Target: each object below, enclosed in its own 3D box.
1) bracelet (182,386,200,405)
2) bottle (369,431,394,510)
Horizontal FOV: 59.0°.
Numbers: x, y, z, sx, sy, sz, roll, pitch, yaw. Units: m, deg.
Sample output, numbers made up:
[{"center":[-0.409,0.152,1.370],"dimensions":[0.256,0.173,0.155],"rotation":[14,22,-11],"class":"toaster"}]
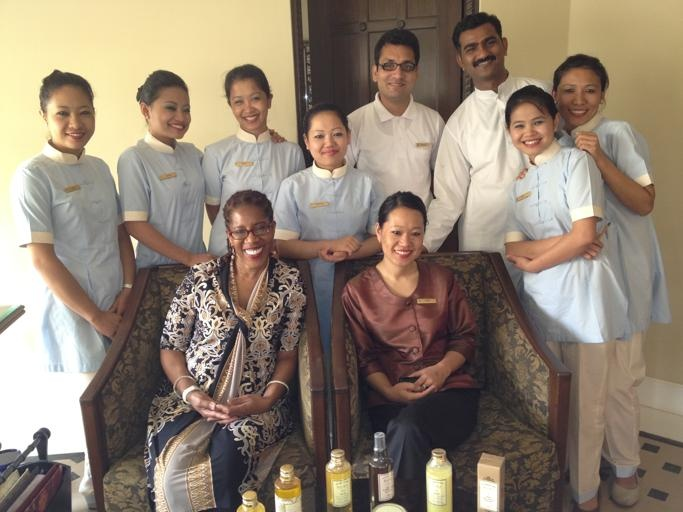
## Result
[{"center":[-0.640,0.577,2.524],"dimensions":[0.068,0.081,0.034],"rotation":[0,2,-1],"class":"bracelet"},{"center":[0.140,0.771,2.182],"dimensions":[0.093,0.306,0.195],"rotation":[-3,16,4],"class":"bottle"}]
